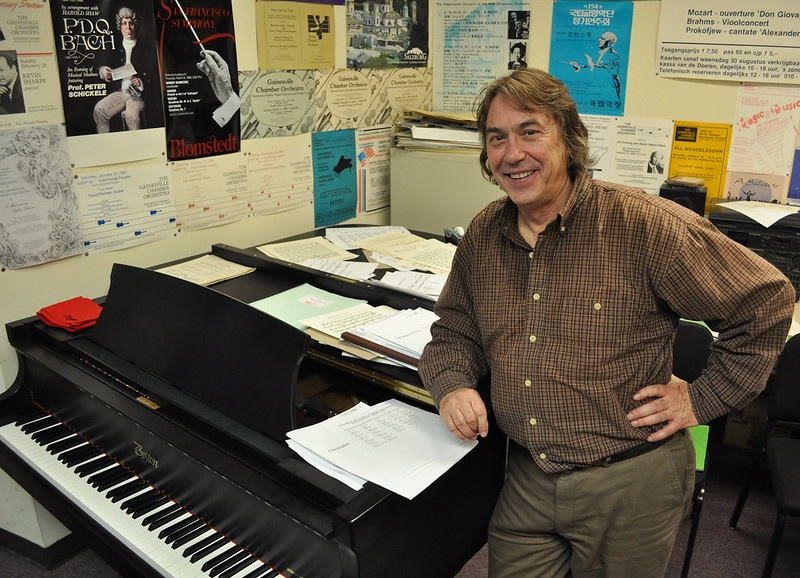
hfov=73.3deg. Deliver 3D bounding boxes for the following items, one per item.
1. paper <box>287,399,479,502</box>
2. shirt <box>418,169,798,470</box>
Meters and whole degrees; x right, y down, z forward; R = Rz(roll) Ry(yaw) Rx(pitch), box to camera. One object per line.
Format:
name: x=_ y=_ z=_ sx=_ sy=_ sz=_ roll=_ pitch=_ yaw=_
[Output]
paper: x=-0.036 y=0.394 z=1.341 sx=0.264 sy=0.068 sz=0.263 roll=15 pitch=19 yaw=42
shirt: x=0.502 y=0.088 z=1.400 sx=0.897 sy=0.715 sz=0.354 roll=2 pitch=21 yaw=7
